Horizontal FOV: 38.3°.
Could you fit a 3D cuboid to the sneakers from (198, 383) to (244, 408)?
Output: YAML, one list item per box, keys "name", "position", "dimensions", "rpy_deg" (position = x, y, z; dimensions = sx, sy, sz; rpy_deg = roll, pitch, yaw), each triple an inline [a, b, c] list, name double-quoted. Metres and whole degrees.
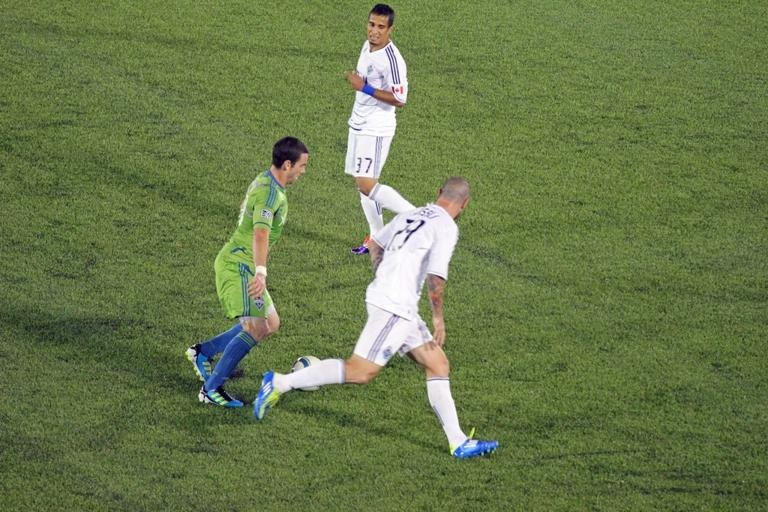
- name: "sneakers"
  position: [-1.990, 1.704, 13.479]
  dimensions: [0.669, 0.282, 0.226]
  rpy_deg: [9, 14, -8]

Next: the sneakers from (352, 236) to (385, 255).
- name: "sneakers"
  position: [-0.226, -0.102, 14.771]
  dimensions: [0.458, 0.296, 0.161]
  rpy_deg: [1, 26, 4]

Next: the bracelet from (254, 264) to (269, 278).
- name: "bracelet"
  position: [-1.439, 0.175, 12.947]
  dimensions: [0.134, 0.133, 0.127]
  rpy_deg: [1, -2, -28]

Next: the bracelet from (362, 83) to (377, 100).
- name: "bracelet"
  position: [-0.205, -2.128, 14.450]
  dimensions: [0.188, 0.186, 0.146]
  rpy_deg: [10, 29, -3]
